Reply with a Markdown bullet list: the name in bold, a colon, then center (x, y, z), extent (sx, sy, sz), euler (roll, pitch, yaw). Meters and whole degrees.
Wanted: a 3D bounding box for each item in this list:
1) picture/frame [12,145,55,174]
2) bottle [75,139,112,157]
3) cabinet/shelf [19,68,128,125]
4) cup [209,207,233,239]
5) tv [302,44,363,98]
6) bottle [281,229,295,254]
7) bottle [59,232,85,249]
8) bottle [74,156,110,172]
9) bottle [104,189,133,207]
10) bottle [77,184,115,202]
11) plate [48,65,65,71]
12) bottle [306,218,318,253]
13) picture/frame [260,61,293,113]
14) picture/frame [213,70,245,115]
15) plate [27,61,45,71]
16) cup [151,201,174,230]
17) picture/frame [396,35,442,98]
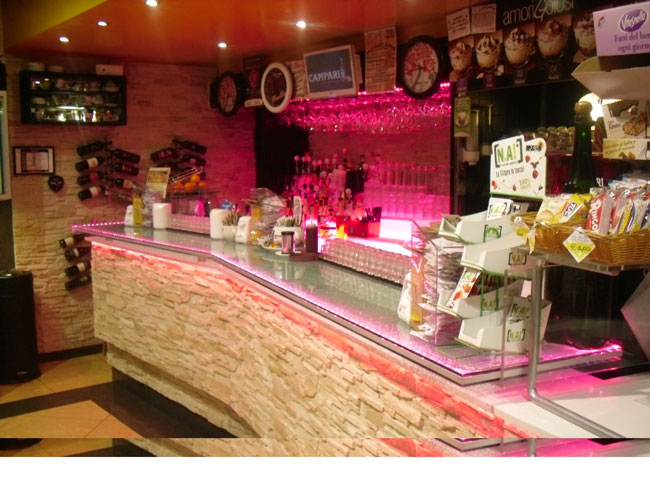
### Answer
- **picture/frame**: center (-3.632, -1.046, 5.873), extent (0.349, 0.312, 0.040), euler (-5, 7, -37)
- **bottle**: center (-3.024, -1.255, 6.224), extent (0.430, 0.229, 0.147), euler (-6, 11, -26)
- **cabinet/shelf**: center (-3.130, -1.785, 5.971), extent (1.109, 0.692, 0.289), euler (-5, -2, -23)
- **cup**: center (-1.013, -0.192, 4.452), extent (0.124, 0.213, 0.213), euler (-6, 10, -44)
- **tv**: center (0.060, -1.846, 5.140), extent (0.672, 0.483, 0.086), euler (8, 23, 39)
- **bottle**: center (-0.287, -0.009, 3.655), extent (0.131, 0.223, 0.135), euler (1, 2, 0)
- **bottle**: center (-3.271, -0.044, 6.132), extent (0.303, 0.184, 0.162), euler (-7, 12, -31)
- **bottle**: center (-3.064, -1.037, 6.213), extent (0.360, 0.210, 0.200), euler (-7, 12, -30)
- **bottle**: center (-2.819, -0.630, 6.485), extent (0.350, 0.207, 0.261), euler (9, 8, -20)
- **bottle**: center (-3.032, -0.670, 6.291), extent (0.430, 0.200, 0.168), euler (-8, 13, -35)
- **plate**: center (-3.330, -2.150, 5.854), extent (0.121, 0.080, 0.127), euler (9, 13, 22)
- **bottle**: center (-0.110, -0.056, 3.718), extent (0.095, 0.235, 0.207), euler (-1, 10, -3)
- **picture/frame**: center (-0.594, -1.925, 5.782), extent (0.091, 0.645, 0.538), euler (2, 16, -42)
- **picture/frame**: center (-1.323, -2.094, 6.561), extent (0.095, 0.575, 0.557), euler (-11, 26, -42)
- **plate**: center (-3.482, -2.129, 5.726), extent (0.153, 0.100, 0.158), euler (1, 10, -12)
- **cup**: center (-1.753, -0.307, 5.095), extent (0.199, 0.270, 0.180), euler (-4, 11, -21)
- **picture/frame**: center (0.864, -1.609, 4.332), extent (0.046, 0.552, 0.552), euler (-16, 19, -36)
